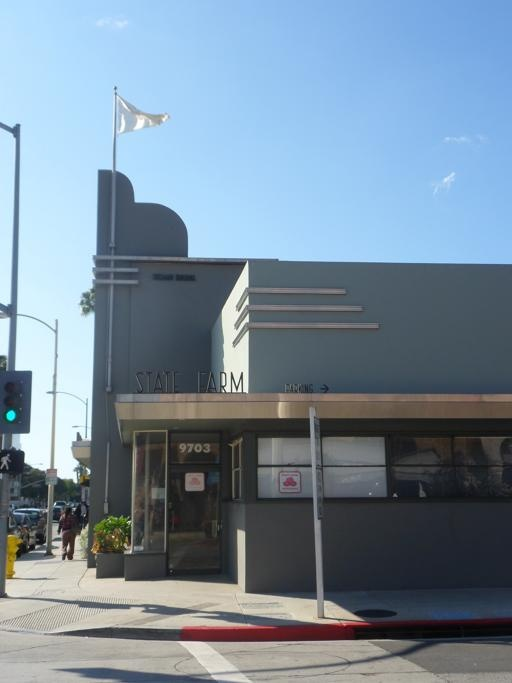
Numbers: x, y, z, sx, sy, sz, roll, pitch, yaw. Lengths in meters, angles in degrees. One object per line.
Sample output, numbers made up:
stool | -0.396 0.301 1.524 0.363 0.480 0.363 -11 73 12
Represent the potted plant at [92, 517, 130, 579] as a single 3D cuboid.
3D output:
potted plant | -3.414 4.679 17.140 1.047 1.535 1.214 0 -8 -5
